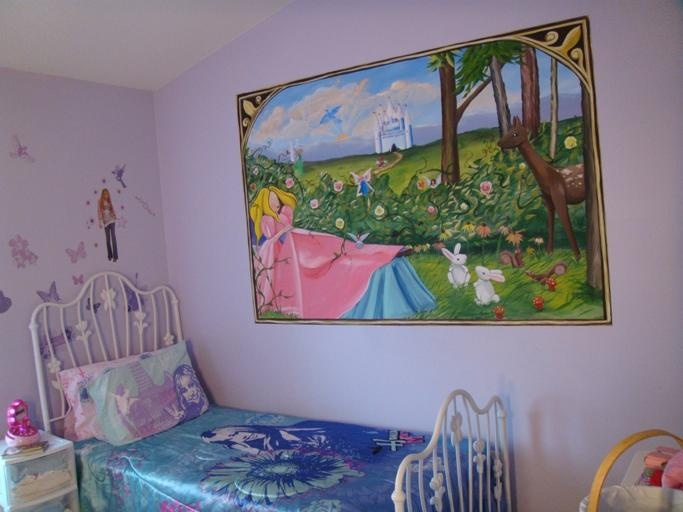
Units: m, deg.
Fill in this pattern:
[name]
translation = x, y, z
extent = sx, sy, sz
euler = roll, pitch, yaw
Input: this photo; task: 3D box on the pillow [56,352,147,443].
[pillow]
translation = -1.577, 0.874, 3.625
extent = 0.424, 0.437, 0.095
euler = -11, 4, -40
